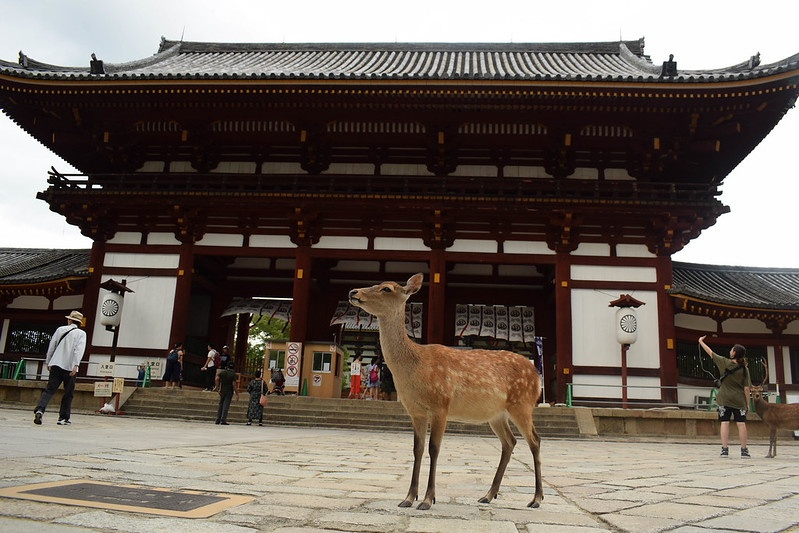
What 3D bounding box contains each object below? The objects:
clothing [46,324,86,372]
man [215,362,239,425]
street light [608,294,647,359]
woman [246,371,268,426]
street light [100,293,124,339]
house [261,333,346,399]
[{"bbox_3d":[-7.322,1.779,13.355,0.647,1.058,0.430,12,-20,-25],"label":"clothing"},{"bbox_3d":[-5.014,3.758,17.398,0.466,1.635,1.474,8,-18,-14],"label":"man"},{"bbox_3d":[7.304,1.821,19.434,0.907,1.715,1.009,4,-18,0],"label":"street light"},{"bbox_3d":[-4.109,3.930,17.498,0.539,1.344,0.728,8,-18,-13],"label":"woman"},{"bbox_3d":[-9.691,1.549,20.378,0.631,1.269,0.745,11,-19,-22],"label":"street light"},{"bbox_3d":[-3.044,3.493,20.921,2.208,1.574,2.155,0,-15,0],"label":"house"}]
